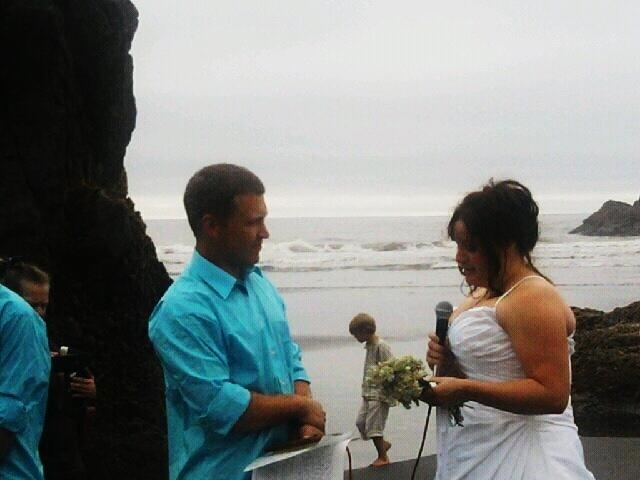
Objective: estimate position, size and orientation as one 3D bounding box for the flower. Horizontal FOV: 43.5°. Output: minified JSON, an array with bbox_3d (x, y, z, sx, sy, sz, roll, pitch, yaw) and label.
[{"bbox_3d":[0.596,0.902,4.846,0.362,0.339,0.522,-2,27,-38],"label":"flower"}]

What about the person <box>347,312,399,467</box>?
[{"bbox_3d":[0.396,1.212,6.259,0.423,1.292,0.574,9,-29,-7],"label":"person"}]
